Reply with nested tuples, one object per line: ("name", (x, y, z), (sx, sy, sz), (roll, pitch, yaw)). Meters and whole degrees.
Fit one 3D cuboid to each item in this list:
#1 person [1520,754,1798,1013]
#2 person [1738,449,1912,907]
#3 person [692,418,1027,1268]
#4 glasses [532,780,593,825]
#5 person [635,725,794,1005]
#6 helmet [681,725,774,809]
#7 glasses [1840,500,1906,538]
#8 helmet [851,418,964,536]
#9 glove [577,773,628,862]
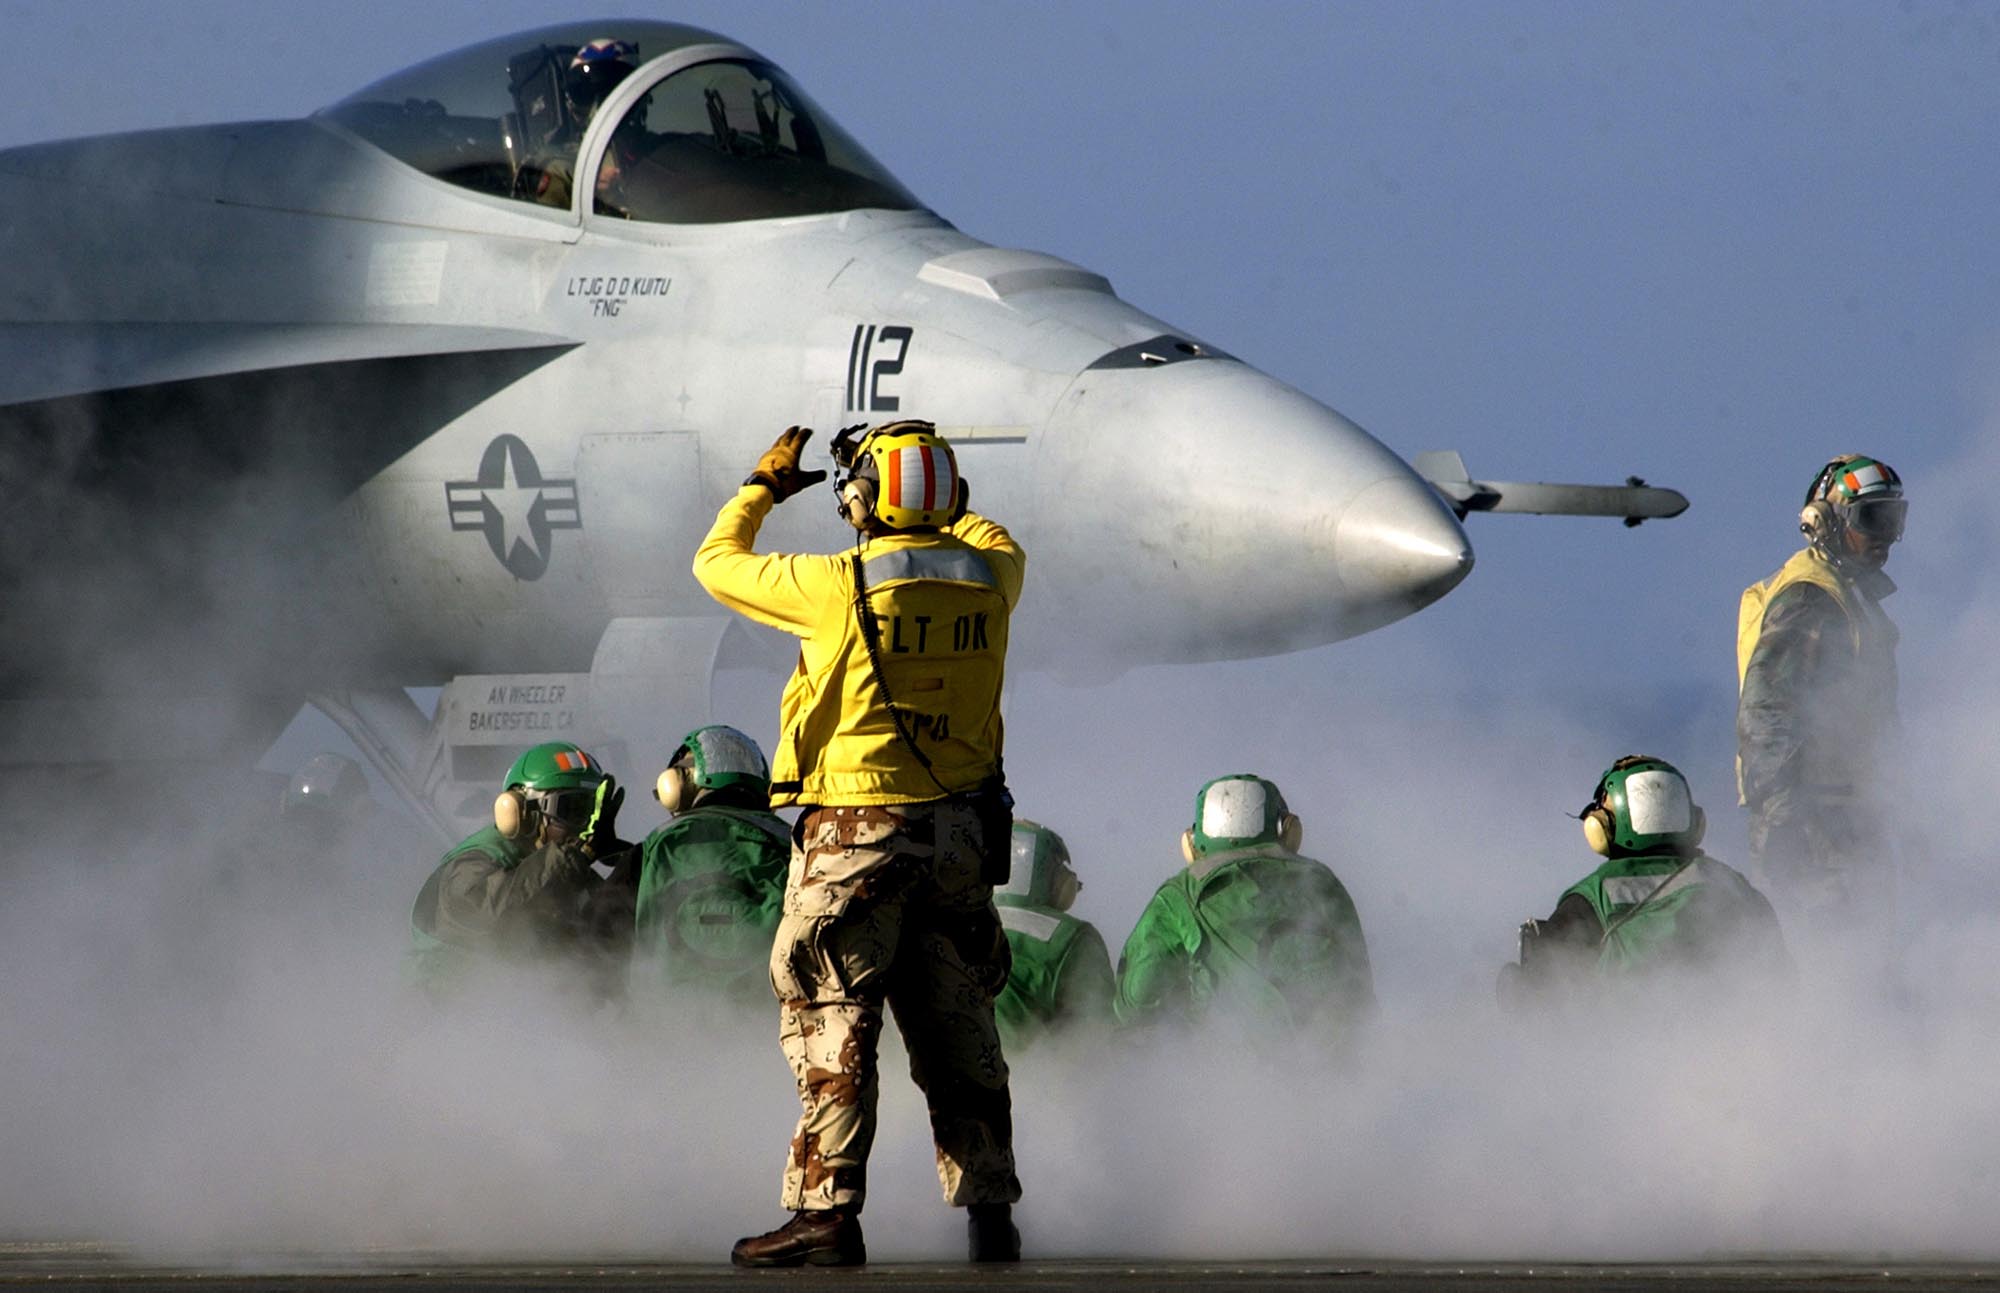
("person", (3.227, 1.062, 18.468), (1.220, 1.141, 0.341), (-6, -19, 27))
("person", (4.558, 0.135, 20.583), (0.903, 2.408, 0.464), (-1, -17, 10))
("person", (-0.583, 0.863, 16.934), (1.448, 3.805, 0.941), (2, -17, -1))
("glasses", (-2.226, 0.794, 19.072), (0.218, 0.146, 0.261), (1, -2, -39))
("person", (-1.385, 1.045, 18.450), (1.027, 1.175, 0.512), (10, -18, -36))
("helmet", (-1.428, 0.608, 18.951), (0.591, 0.433, 0.421), (1, -8, 0))
("glasses", (4.854, -0.696, 20.668), (0.258, 0.163, 0.316), (-1, 2, -23))
("helmet", (-0.433, -0.766, 17.000), (0.481, 0.457, 0.542), (-2, -4, -19))
("glove", (-2.009, 0.877, 19.140), (0.174, 0.390, 0.300), (18, 10, -14))
